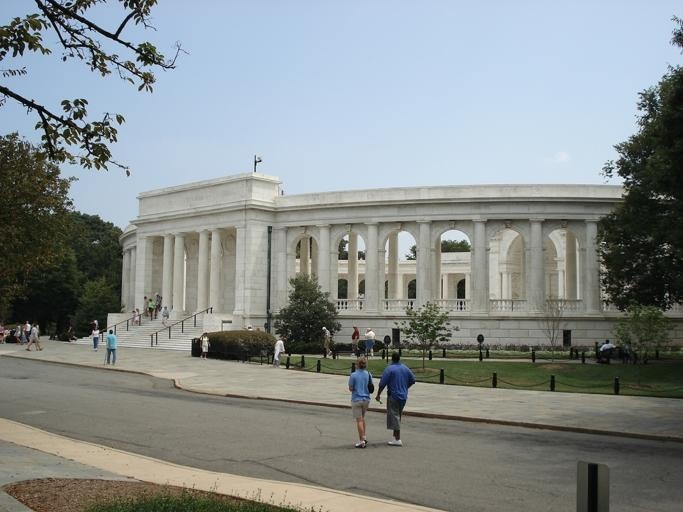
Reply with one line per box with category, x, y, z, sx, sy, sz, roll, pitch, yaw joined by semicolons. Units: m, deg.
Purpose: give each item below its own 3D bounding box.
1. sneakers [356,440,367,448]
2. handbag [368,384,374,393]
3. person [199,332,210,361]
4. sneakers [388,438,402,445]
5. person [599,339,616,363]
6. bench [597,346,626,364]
sneakers;0.484;4.759;19.224;0.257;0.189;0.336;0;-10;3
handbag;0.776;3.468;19.911;0.137;0.208;0.417;1;-10;-2
person;-7.866;5.099;43.296;0.545;1.497;1.401;2;-10;-10
sneakers;1.364;4.786;19.557;0.147;0.162;0.390;0;-1;-25
person;14.203;5.058;40.186;1.102;1.499;1.044;3;7;23
bench;13.924;5.068;38.703;1.125;0.643;0.838;7;-8;-6
